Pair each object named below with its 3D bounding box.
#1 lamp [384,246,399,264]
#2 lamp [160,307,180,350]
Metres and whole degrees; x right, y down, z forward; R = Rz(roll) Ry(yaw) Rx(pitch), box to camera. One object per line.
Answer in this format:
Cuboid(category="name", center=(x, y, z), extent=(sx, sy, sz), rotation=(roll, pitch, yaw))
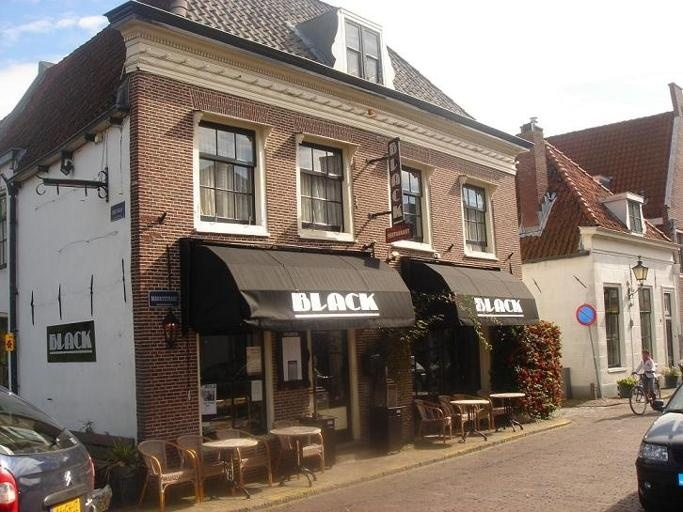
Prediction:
Cuboid(category="lamp", center=(1.363, -0.040, 18.139), extent=(0.152, 0.460, 0.568), rotation=(-16, -16, 35))
Cuboid(category="lamp", center=(-3.425, 1.454, 13.759), extent=(0.347, 0.766, 0.180), rotation=(-1, -14, -21))
